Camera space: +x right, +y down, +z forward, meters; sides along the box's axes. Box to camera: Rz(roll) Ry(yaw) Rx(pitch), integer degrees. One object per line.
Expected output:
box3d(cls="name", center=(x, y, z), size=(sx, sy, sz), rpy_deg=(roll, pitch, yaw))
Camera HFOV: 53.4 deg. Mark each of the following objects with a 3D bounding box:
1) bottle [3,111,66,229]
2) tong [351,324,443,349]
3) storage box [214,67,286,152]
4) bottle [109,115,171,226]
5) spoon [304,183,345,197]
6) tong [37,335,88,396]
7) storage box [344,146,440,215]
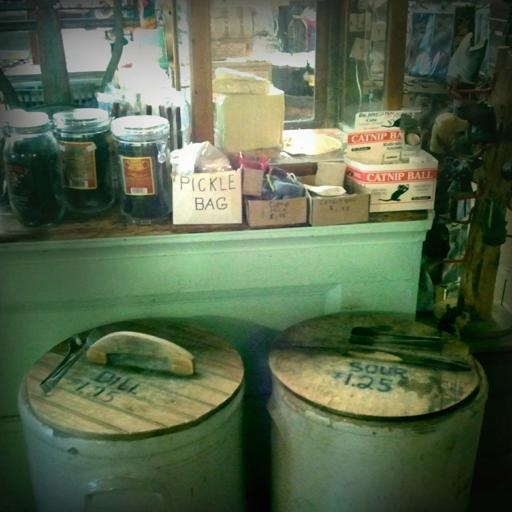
box3d(cls="bottle", center=(-0.771, -0.305, 1.773), size=(0.183, 0.392, 0.129), rpy_deg=(-16, 23, -33))
box3d(cls="tong", center=(0.440, 0.267, 1.666), size=(0.305, 0.042, 0.097), rpy_deg=(5, 29, 5))
box3d(cls="storage box", center=(-0.092, -0.611, 2.146), size=(0.409, 0.285, 0.374), rpy_deg=(5, 24, 7))
box3d(cls="bottle", center=(-0.392, -0.303, 1.797), size=(0.195, 0.365, 0.140), rpy_deg=(-8, 20, -14))
box3d(cls="spoon", center=(0.252, -0.234, 1.822), size=(0.083, 0.023, 0.073), rpy_deg=(-13, 13, -24))
box3d(cls="tong", center=(-0.584, 0.327, 1.559), size=(0.048, 0.037, 0.139), rpy_deg=(10, 39, 17))
box3d(cls="storage box", center=(0.498, -0.277, 1.982), size=(0.382, 0.177, 0.388), rpy_deg=(6, 15, 33))
